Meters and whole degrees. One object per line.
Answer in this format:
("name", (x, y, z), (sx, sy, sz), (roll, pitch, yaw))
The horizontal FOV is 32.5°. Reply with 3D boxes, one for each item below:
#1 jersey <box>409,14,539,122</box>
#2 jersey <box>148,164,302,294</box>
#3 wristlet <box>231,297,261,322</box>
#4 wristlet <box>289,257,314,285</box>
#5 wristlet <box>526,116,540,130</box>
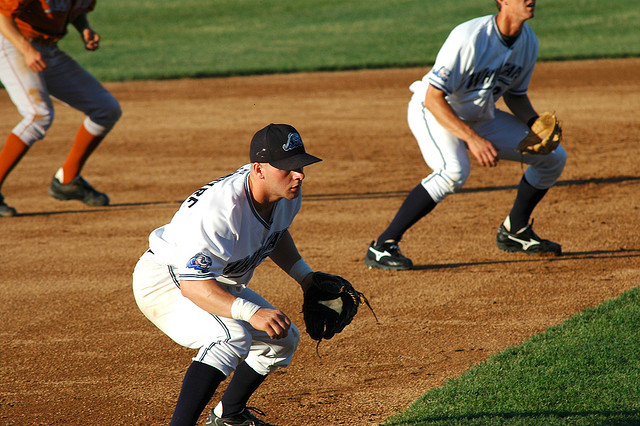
("jersey", (1.963, -1.713, 13.301), (1.382, 1.288, 0.307), (-13, 29, -16))
("jersey", (-0.995, 0.234, 12.094), (1.322, 0.828, 1.385), (-37, -1, 27))
("wristlet", (-0.790, 0.999, 11.404), (0.276, 0.205, 0.193), (-5, 60, 41))
("wristlet", (-0.208, 0.636, 12.166), (0.201, 0.225, 0.256), (-29, 38, 24))
("wristlet", (2.650, -1.123, 13.634), (0.147, 0.057, 0.110), (-48, 14, -9))
